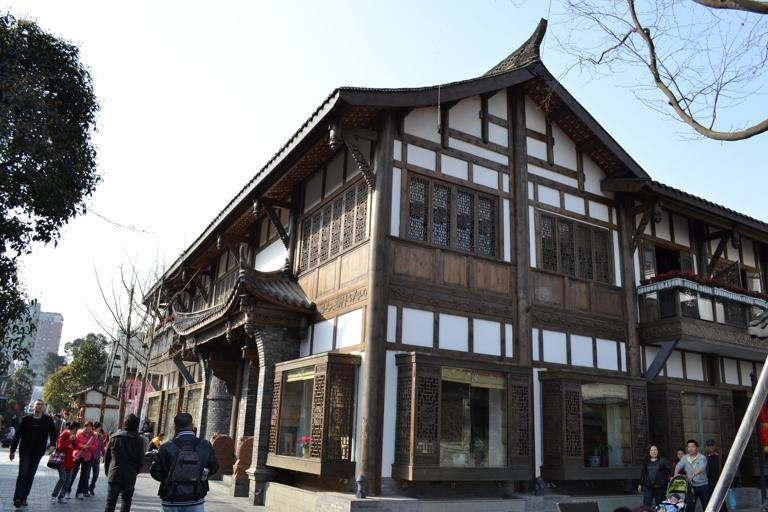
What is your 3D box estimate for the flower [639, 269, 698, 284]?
[{"bbox_3d":[9.272,0.648,18.567,1.668,0.528,0.603,-4,-22,22],"label":"flower"}]
